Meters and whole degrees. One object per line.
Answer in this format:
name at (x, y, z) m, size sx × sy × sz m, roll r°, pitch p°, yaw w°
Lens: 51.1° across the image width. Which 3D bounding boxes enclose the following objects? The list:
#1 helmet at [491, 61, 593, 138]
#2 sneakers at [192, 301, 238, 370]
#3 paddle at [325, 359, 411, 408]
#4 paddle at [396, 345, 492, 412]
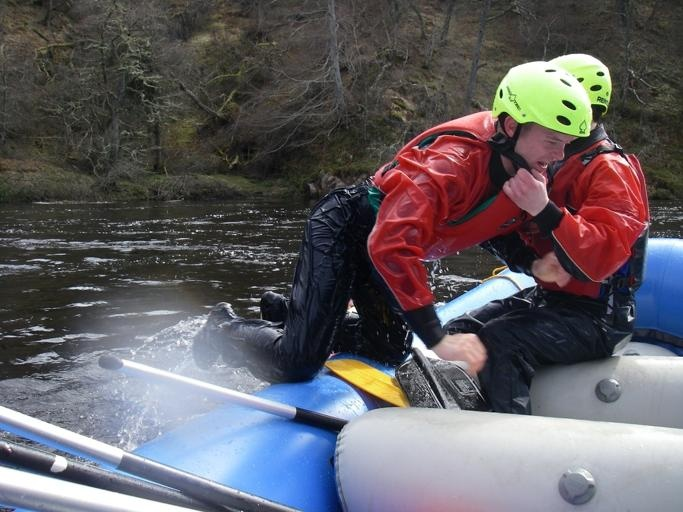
helmet at (0.914, -0.722, 3.213) m, size 0.437 × 0.250 × 0.320 m, roll 34°, pitch 32°, yaw 23°
sneakers at (-0.792, 0.469, 4.055) m, size 0.124 × 0.357 × 0.249 m, roll 18°, pitch 28°, yaw -34°
paddle at (0.131, 0.623, 3.593) m, size 0.155 × 0.051 × 0.497 m, roll -15°, pitch 28°, yaw -33°
paddle at (0.458, 0.591, 3.312) m, size 0.350 × 0.113 × 0.272 m, roll 23°, pitch 56°, yaw 17°
